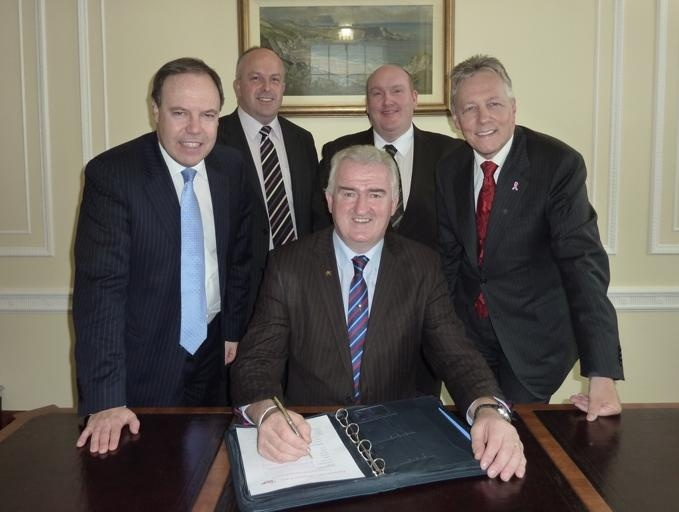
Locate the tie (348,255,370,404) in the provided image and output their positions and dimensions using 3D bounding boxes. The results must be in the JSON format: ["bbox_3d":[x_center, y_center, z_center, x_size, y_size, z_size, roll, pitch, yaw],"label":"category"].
[{"bbox_3d":[0.093,0.303,2.542,0.075,0.655,0.068,0,-12,-2],"label":"tie"}]

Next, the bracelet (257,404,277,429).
[{"bbox_3d":[-0.262,0.578,2.171,0.059,0.073,0.064,23,35,8],"label":"bracelet"}]

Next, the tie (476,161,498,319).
[{"bbox_3d":[0.708,-0.089,2.904,0.093,0.786,0.096,-5,-5,30],"label":"tie"}]

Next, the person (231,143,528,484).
[{"bbox_3d":[0.101,0.163,2.609,1.043,2.096,1.156,0,3,-7],"label":"person"}]
